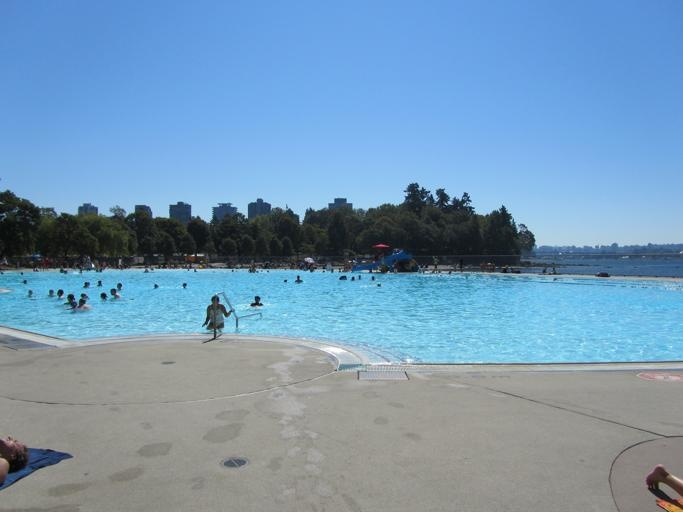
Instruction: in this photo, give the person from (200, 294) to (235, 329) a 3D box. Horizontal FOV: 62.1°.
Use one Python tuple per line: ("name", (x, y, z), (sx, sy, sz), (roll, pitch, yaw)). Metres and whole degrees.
("person", (-3.642, 1.768, 16.646), (0.874, 1.295, 0.367), (4, 19, -1))
